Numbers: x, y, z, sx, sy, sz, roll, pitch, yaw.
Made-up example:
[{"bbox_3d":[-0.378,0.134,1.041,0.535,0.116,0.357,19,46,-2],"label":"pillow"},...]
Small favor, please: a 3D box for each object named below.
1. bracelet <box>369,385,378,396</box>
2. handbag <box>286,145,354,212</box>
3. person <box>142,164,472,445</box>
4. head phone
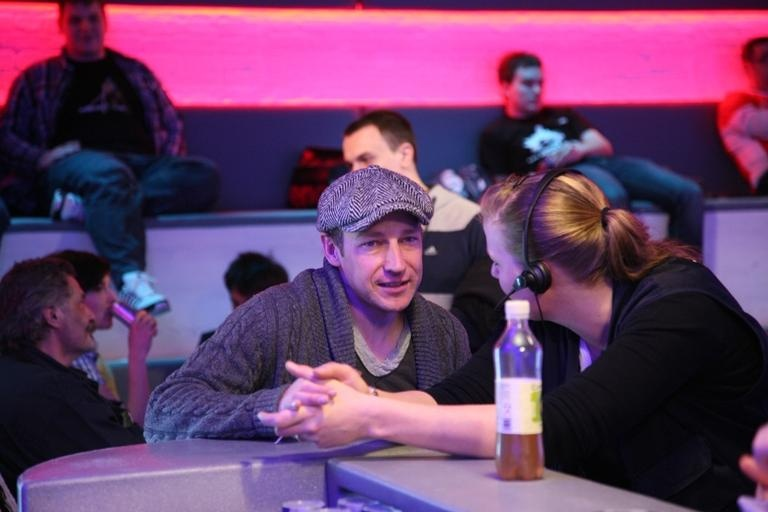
[{"bbox_3d":[-0.032,0.376,2.093,0.017,0.008,0.023,41,1,-2],"label":"bracelet"},{"bbox_3d":[-0.342,-0.408,3.951,0.310,0.285,0.317,0,2,5],"label":"handbag"},{"bbox_3d":[-0.325,0.171,2.756,1.087,1.347,0.759,7,4,-25],"label":"person"},{"bbox_3d":[0.437,-0.067,2.111,0.091,0.294,0.227,13,21,32],"label":"head phone"}]
